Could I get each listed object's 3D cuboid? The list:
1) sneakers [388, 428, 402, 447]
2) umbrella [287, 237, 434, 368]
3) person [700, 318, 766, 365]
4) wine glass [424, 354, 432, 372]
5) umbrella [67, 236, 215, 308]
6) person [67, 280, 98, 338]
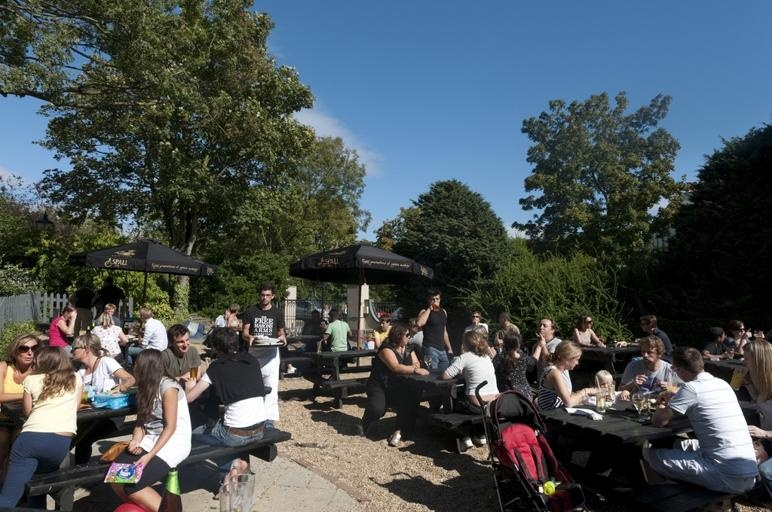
[{"bbox_3d":[0.192,3.423,10.295,0.076,0.303,0.182,-13,34,-40],"label":"sneakers"},{"bbox_3d":[-0.855,1.520,17.767,4.470,3.042,4.567,7,-9,-7],"label":"umbrella"},{"bbox_3d":[7.525,1.917,12.148,1.542,0.648,1.540,0,-8,-42],"label":"person"},{"bbox_3d":[0.886,2.284,11.735,0.196,0.413,0.197,-5,-28,3],"label":"wine glass"},{"bbox_3d":[-6.152,0.185,14.555,2.330,1.418,2.200,1,-9,-1],"label":"umbrella"},{"bbox_3d":[-8.077,1.407,14.677,0.604,1.603,0.478,5,22,-34],"label":"person"}]
